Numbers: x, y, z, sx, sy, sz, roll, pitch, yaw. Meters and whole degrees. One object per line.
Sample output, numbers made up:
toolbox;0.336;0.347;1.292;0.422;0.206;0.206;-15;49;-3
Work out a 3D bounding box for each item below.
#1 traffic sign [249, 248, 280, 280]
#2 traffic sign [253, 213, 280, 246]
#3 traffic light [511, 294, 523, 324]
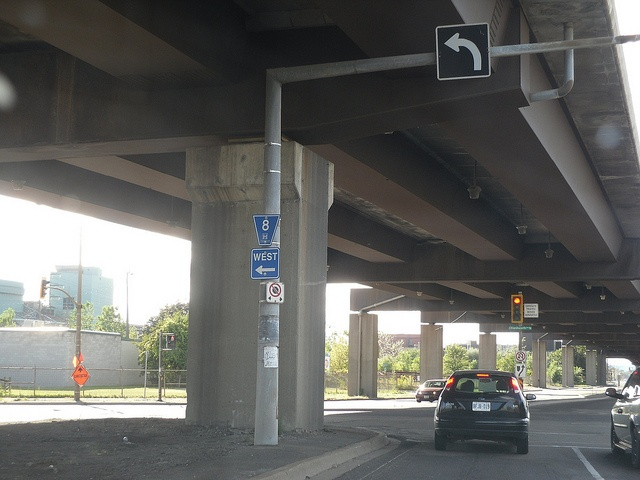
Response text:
traffic sign;-1.249;0.527;17.277;0.619;0.756;0.090;-2;-4;9
traffic sign;-1.203;-0.270;17.330;0.696;0.802;0.100;-1;-10;6
traffic light;10.172;3.487;39.288;0.496;1.345;0.368;0;-10;4
